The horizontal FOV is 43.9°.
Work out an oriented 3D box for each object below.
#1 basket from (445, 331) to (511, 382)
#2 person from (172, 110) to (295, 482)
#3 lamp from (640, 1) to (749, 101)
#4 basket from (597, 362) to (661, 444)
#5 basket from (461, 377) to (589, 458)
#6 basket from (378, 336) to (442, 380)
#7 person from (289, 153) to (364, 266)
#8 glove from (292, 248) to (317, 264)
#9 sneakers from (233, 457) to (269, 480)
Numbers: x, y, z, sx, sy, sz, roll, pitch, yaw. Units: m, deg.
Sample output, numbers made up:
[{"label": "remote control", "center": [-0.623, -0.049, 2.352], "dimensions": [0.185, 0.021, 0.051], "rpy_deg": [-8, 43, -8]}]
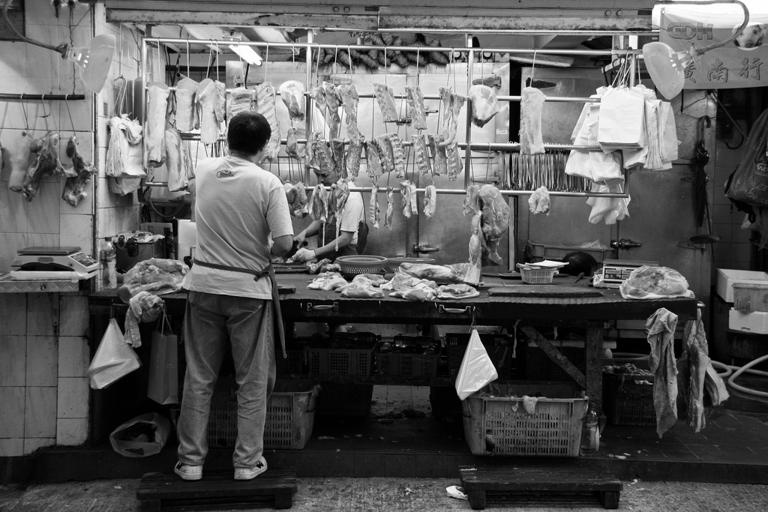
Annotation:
[{"label": "basket", "center": [0.927, 0.948, 9.251], "dimensions": [0.446, 0.307, 0.474], "rpy_deg": [0, -1, 4]}, {"label": "person", "center": [-1.329, 0.549, 8.329], "dimensions": [0.968, 2.811, 0.394], "rpy_deg": [0, 5, -13]}, {"label": "lamp", "center": [3.271, -2.126, 9.529], "dimensions": [1.144, 1.200, 0.780], "rpy_deg": [10, 25, 25]}, {"label": "basket", "center": [2.453, 1.412, 9.490], "dimensions": [0.387, 0.436, 0.641], "rpy_deg": [0, 4, 3]}, {"label": "basket", "center": [1.292, 1.491, 8.855], "dimensions": [0.875, 0.449, 0.690], "rpy_deg": [1, -8, -1]}, {"label": "basket", "center": [0.196, 0.984, 9.161], "dimensions": [0.410, 0.277, 0.419], "rpy_deg": [1, -3, -26]}, {"label": "person", "center": [-0.522, -0.436, 10.126], "dimensions": [0.880, 1.377, 0.923], "rpy_deg": [2, 7, -4]}, {"label": "glove", "center": [-0.852, -0.009, 10.096], "dimensions": [0.265, 0.140, 0.210], "rpy_deg": [1, 5, -7]}, {"label": "sneakers", "center": [-1.157, 1.872, 8.420], "dimensions": [0.123, 0.151, 0.336], "rpy_deg": [-1, 0, 14]}]
